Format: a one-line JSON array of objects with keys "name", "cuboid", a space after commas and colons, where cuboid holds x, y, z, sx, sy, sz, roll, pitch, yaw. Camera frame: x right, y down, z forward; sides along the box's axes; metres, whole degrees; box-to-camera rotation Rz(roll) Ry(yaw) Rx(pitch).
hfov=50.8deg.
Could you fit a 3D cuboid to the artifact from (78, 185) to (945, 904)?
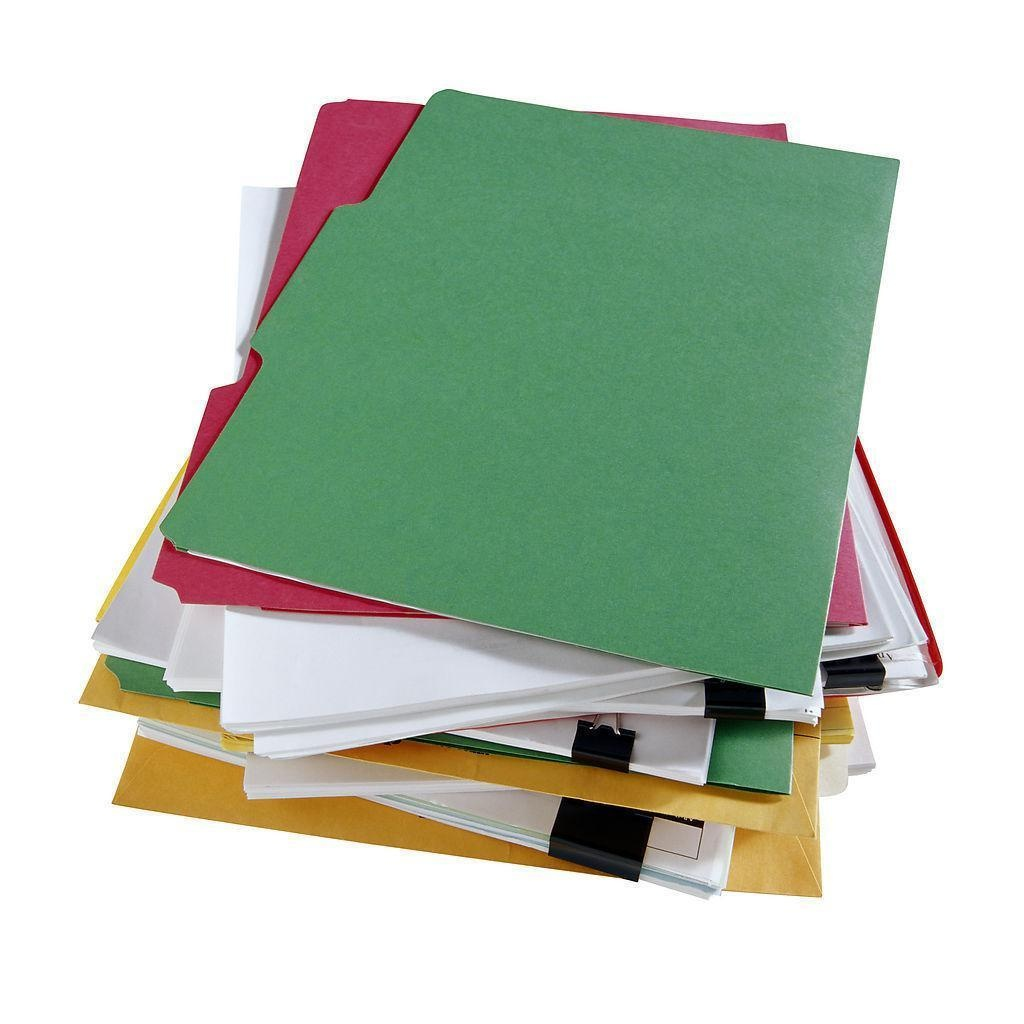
[{"name": "artifact", "cuboid": [-0.051, 0.443, 2.113, 1.317, 1.201, 0.310, 8, -9, 2]}]
